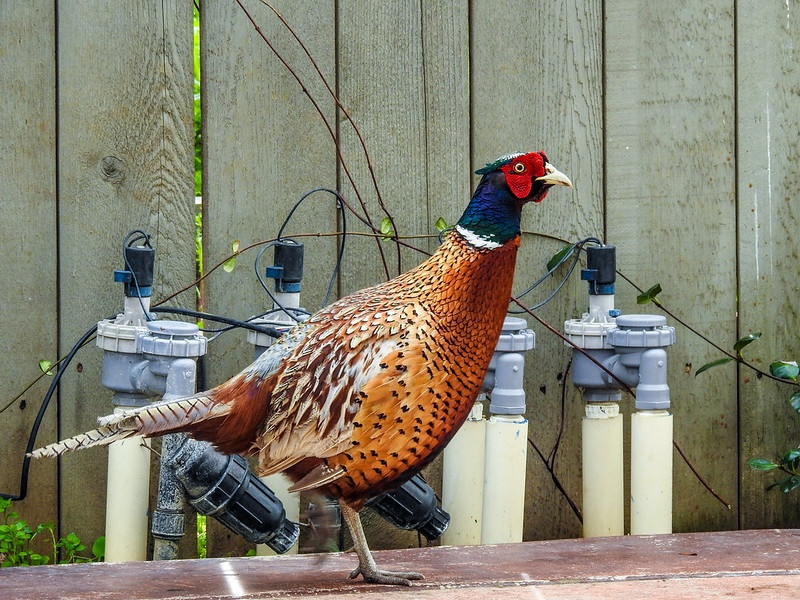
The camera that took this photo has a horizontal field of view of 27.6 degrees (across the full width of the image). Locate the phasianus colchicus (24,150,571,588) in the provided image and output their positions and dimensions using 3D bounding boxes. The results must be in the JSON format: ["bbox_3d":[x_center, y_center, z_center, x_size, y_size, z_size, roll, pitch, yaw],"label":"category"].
[{"bbox_3d":[-0.274,0.209,4.808,1.460,1.168,0.543,-4,6,-1],"label":"phasianus colchicus"}]

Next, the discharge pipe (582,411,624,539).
[{"bbox_3d":[0.665,0.557,5.379,0.124,0.425,0.147,0,15,-2],"label":"discharge pipe"}]

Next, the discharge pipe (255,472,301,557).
[{"bbox_3d":[-0.401,0.686,5.395,0.173,0.305,0.174,1,-10,-27],"label":"discharge pipe"}]
